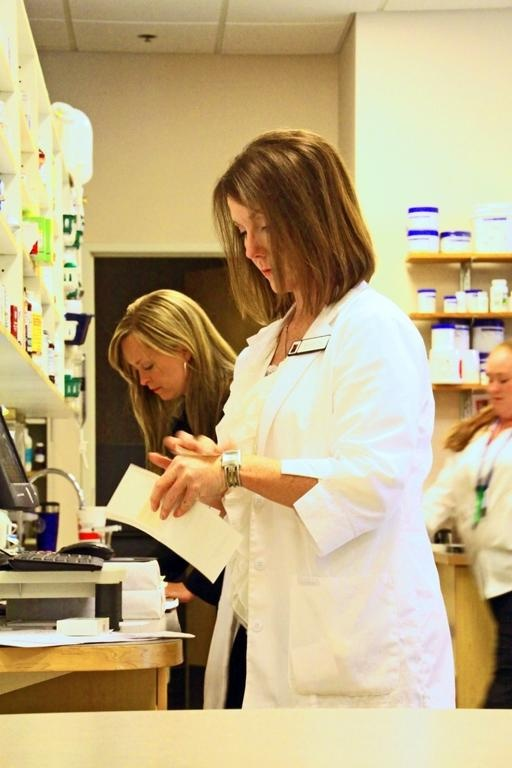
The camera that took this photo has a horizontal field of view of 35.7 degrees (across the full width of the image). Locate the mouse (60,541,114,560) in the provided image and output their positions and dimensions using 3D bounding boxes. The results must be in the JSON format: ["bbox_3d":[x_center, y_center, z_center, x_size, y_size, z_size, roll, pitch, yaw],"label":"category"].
[{"bbox_3d":[-0.325,0.318,1.532,0.098,0.029,0.059,5,-6,-3],"label":"mouse"}]

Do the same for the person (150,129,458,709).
[{"bbox_3d":[0.078,0.065,1.364,0.453,0.909,0.405,-4,-13,15],"label":"person"}]

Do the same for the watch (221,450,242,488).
[{"bbox_3d":[-0.042,0.127,1.200,0.037,0.054,0.049,-1,-44,-7],"label":"watch"}]
